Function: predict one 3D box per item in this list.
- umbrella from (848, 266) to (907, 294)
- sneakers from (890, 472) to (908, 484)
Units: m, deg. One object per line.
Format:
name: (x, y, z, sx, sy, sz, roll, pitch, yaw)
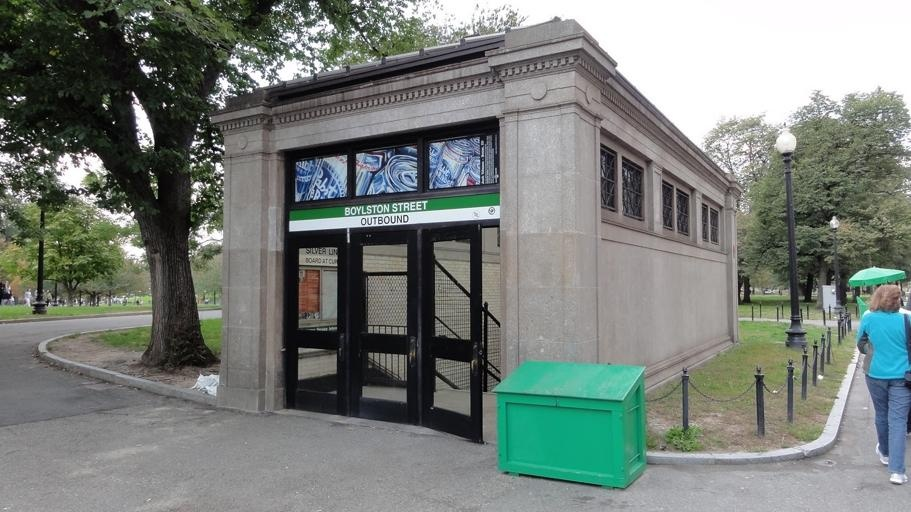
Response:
umbrella: (19.655, 0.989, 28.408, 2.276, 0.702, 2.158, -9, -6, -40)
sneakers: (10.053, 5.044, 13.804, 0.173, 0.187, 0.440, 0, -2, 40)
